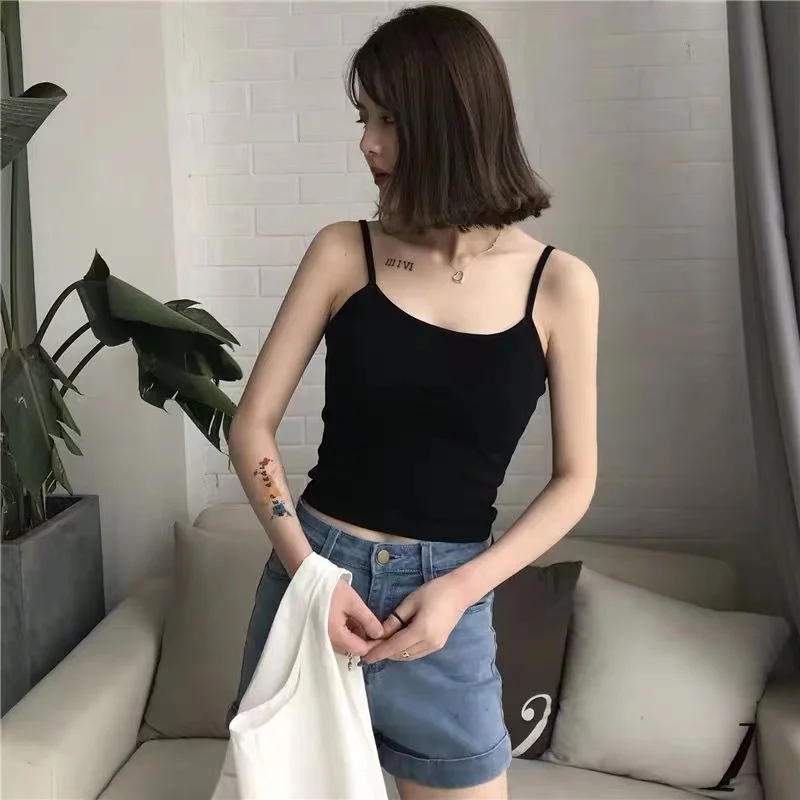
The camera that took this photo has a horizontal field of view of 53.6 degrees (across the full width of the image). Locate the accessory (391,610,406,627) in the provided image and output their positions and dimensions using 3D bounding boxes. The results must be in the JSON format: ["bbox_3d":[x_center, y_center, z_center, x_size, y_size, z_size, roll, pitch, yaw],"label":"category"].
[{"bbox_3d":[-0.001,0.278,1.003,0.004,0.017,0.017,-26,-3,-13],"label":"accessory"}]

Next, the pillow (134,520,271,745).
[{"bbox_3d":[-0.431,0.512,1.839,0.337,0.433,0.115,2,-3,28],"label":"pillow"}]

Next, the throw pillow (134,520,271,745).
[{"bbox_3d":[-0.428,0.509,1.831,0.337,0.433,0.115,2,-3,28],"label":"throw pillow"}]
